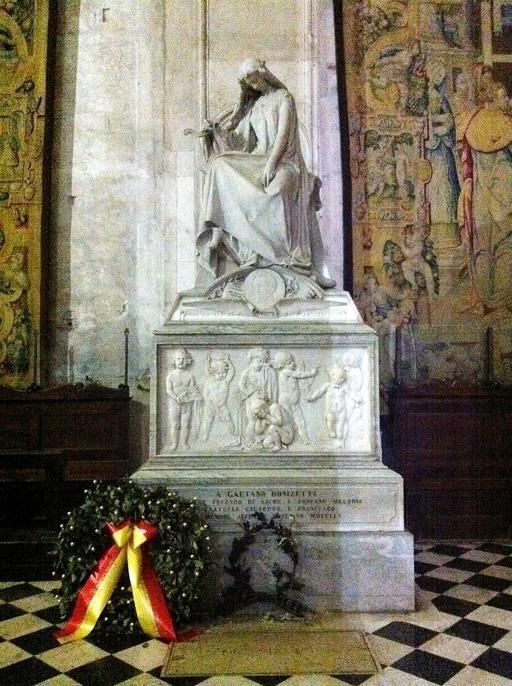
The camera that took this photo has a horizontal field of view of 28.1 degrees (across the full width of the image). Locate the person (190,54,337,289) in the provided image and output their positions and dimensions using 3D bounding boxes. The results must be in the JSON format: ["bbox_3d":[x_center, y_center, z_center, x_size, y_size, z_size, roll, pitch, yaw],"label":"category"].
[{"bbox_3d":[0.033,-1.038,6.166,0.790,1.412,0.677,-9,-11,40],"label":"person"}]

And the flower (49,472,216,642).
[{"bbox_3d":[-0.624,1.056,5.022,0.638,0.787,0.305,0,-18,-1],"label":"flower"}]
